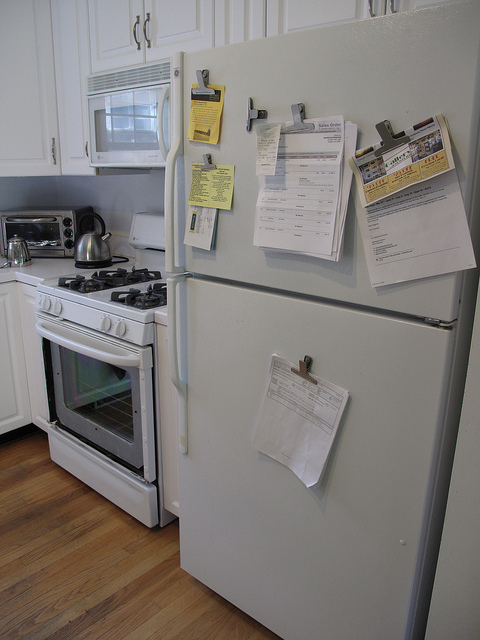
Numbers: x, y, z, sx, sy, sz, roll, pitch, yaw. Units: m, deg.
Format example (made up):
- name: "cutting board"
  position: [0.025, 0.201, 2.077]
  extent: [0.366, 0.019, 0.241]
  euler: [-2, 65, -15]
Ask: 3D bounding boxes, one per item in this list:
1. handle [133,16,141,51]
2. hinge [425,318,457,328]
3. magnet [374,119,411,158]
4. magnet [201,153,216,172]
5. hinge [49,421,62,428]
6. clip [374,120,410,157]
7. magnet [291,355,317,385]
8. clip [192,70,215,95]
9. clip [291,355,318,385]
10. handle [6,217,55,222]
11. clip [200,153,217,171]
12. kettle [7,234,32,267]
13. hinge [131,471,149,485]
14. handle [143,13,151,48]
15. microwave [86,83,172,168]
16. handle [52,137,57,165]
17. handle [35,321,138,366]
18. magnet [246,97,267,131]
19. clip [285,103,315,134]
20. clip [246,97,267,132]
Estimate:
- name: "handle"
  position: [-0.402, -1.118, 1.829]
  extent: [0.016, 0.122, 0.048]
  euler: [-10, 15, -41]
- name: "hinge"
  position: [0.350, 0.003, 0.828]
  extent: [0.053, 0.015, 0.025]
  euler: [9, 17, 31]
- name: "magnet"
  position: [0.258, -0.307, 0.794]
  extent: [0.046, 0.053, 0.026]
  euler: [-19, 9, 39]
- name: "magnet"
  position: [-0.077, -0.373, 1.116]
  extent: [0.028, 0.039, 0.008]
  euler: [0, 7, 19]
- name: "hinge"
  position: [-0.849, 0.483, 2.176]
  extent: [0.028, 0.008, 0.030]
  euler: [22, 6, -4]
- name: "clip"
  position: [0.257, -0.307, 0.795]
  extent: [0.046, 0.052, 0.026]
  euler: [-18, 13, 43]
- name: "magnet"
  position: [0.141, 0.109, 1.043]
  extent: [0.040, 0.045, 0.021]
  euler: [31, 48, 32]
- name: "clip"
  position: [-0.082, -0.552, 1.088]
  extent: [0.056, 0.063, 0.007]
  euler: [16, 32, 36]
- name: "clip"
  position: [0.143, 0.109, 1.042]
  extent: [0.041, 0.046, 0.022]
  euler: [30, 44, 32]
- name: "handle"
  position: [-1.139, -0.549, 2.565]
  extent: [0.250, 0.025, 0.037]
  euler: [1, 14, 2]
- name: "clip"
  position: [-0.077, -0.375, 1.115]
  extent: [0.028, 0.038, 0.009]
  euler: [-5, 4, 23]
- name: "kettle"
  position: [-1.124, -0.348, 2.404]
  extent: [0.097, 0.175, 0.136]
  euler: [5, 10, 16]
- name: "hinge"
  position: [-0.386, 0.608, 1.805]
  extent: [0.095, 0.024, 0.014]
  euler: [13, 17, 38]
- name: "handle"
  position: [-0.355, -1.106, 1.792]
  extent: [0.036, 0.119, 0.016]
  euler: [7, 13, 30]
- name: "microwave"
  position: [-0.441, -0.803, 1.913]
  extent: [0.436, 0.353, 0.285]
  euler: [14, 23, 38]
- name: "handle"
  position: [-0.954, -0.871, 2.418]
  extent: [0.020, 0.131, 0.013]
  euler: [1, 11, 4]
- name: "handle"
  position: [-0.626, 0.097, 1.823]
  extent: [0.699, 0.053, 0.044]
  euler: [13, 18, 38]
- name: "magnet"
  position: [0.029, -0.448, 0.995]
  extent: [0.039, 0.079, 0.025]
  euler: [-2, 15, -12]
- name: "clip"
  position: [0.118, -0.398, 0.923]
  extent: [0.008, 0.051, 0.058]
  euler: [-25, 29, -35]
- name: "clip"
  position: [0.029, -0.436, 0.997]
  extent: [0.038, 0.087, 0.019]
  euler: [-1, 11, -17]
